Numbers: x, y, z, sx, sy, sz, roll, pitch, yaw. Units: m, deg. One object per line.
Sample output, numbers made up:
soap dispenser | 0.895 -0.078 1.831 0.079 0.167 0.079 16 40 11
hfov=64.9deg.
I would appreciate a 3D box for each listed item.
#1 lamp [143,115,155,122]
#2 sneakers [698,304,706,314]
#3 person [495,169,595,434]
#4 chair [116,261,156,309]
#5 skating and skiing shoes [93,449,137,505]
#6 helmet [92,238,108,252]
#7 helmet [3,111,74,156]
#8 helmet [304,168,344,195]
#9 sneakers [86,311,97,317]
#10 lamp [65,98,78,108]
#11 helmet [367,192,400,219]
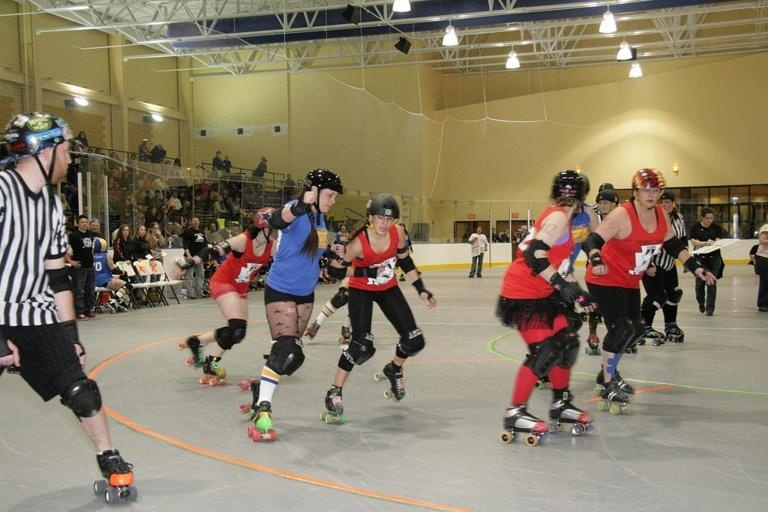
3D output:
lamp | -10.635 -6.192 27.354 0.149 0.329 0.568 1 5 21
sneakers | 6.441 1.073 12.182 0.082 0.228 0.099 -9 -35 21
person | 1.397 0.417 5.146 0.822 2.306 0.643 -1 5 -5
chair | -5.925 0.649 14.329 1.004 1.292 0.827 5 6 39
skating and skiing shoes | -1.887 1.559 4.231 0.194 0.257 0.367 4 -12 -27
helmet | -6.020 -0.237 12.864 0.287 0.470 0.344 2 17 -19
helmet | -2.330 -0.805 4.105 0.392 0.274 0.286 -28 11 -4
helmet | -0.543 -0.696 5.464 0.295 0.260 0.223 14 15 12
sneakers | -6.200 1.226 12.784 0.123 0.134 0.351 1 -6 -28
lamp | -12.283 -5.988 23.726 0.351 0.307 0.414 3 6 42
helmet | -0.008 -0.491 5.672 0.234 0.250 0.265 3 18 -11
